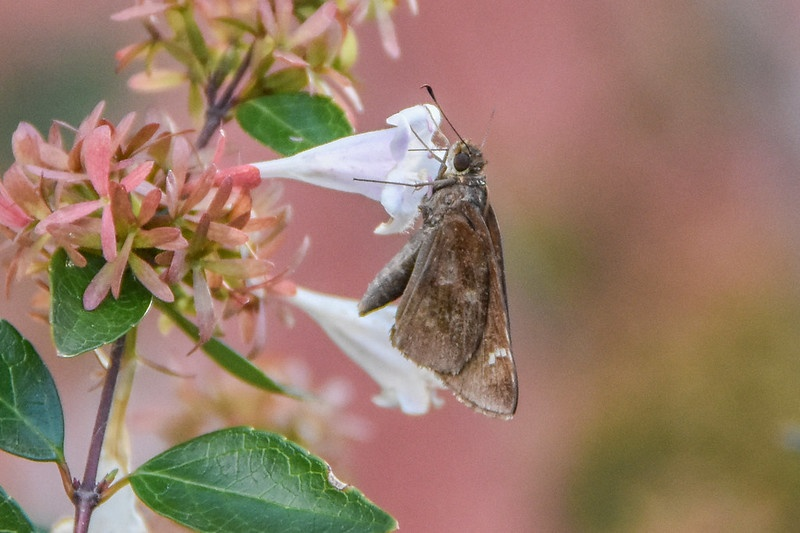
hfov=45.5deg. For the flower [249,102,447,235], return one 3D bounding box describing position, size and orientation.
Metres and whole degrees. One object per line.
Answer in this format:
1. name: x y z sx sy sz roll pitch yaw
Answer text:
1. flower: -0.104 -0.223 2.608 0.391 0.210 0.395 5 -8 -4
